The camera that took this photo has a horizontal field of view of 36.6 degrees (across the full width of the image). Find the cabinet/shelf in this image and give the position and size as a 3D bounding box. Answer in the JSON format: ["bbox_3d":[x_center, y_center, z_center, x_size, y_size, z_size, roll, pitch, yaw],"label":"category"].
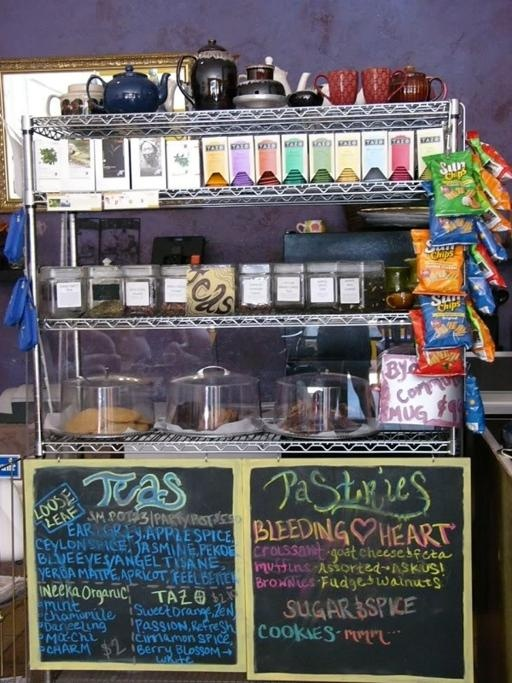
[{"bbox_3d":[-0.016,-0.161,2.427,1.310,1.105,0.429,-2,8,10],"label":"cabinet/shelf"}]

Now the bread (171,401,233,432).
[{"bbox_3d":[-0.162,0.227,2.316,0.099,0.039,0.124,0,1,28],"label":"bread"}]

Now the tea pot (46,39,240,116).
[{"bbox_3d":[-0.359,-0.744,2.270,0.668,0.234,0.198,-3,8,-2],"label":"tea pot"}]
